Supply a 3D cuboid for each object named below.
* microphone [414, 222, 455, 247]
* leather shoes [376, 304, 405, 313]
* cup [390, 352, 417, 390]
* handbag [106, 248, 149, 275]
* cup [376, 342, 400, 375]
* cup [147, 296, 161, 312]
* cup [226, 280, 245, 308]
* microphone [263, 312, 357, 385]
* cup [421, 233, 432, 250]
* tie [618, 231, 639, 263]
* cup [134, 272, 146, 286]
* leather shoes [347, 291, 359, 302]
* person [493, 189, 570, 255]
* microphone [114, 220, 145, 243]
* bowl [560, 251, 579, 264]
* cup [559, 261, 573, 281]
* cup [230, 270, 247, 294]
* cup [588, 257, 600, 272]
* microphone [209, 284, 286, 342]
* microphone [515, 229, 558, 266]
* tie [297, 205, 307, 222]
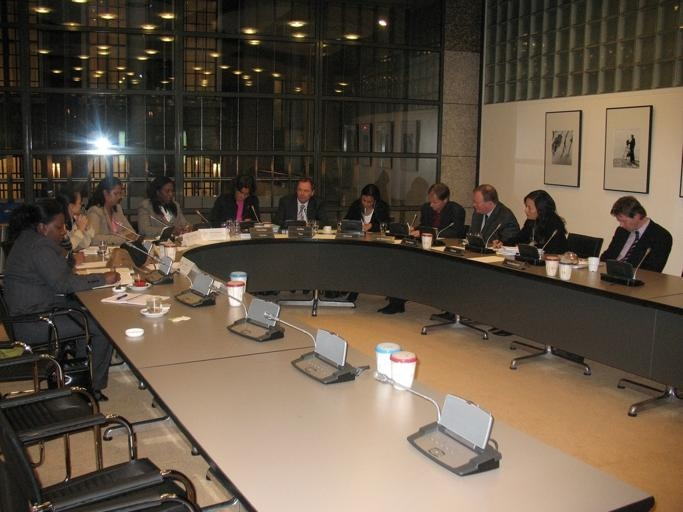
[{"bbox_3d":[1.014,-0.232,5.819,0.208,0.280,0.202,-34,34,-30],"label":"microphone"},{"bbox_3d":[0.581,0.602,6.184,0.229,0.152,0.124,1,2,-8],"label":"leather shoes"},{"bbox_3d":[0.258,0.472,2.304,0.145,0.131,0.140,-1,9,0],"label":"cup"},{"bbox_3d":[-1.825,0.045,4.638,0.323,0.189,0.304,0,6,-24],"label":"handbag"},{"bbox_3d":[0.209,0.440,2.399,0.133,0.126,0.129,0,6,0],"label":"cup"},{"bbox_3d":[-1.131,0.299,3.283,0.100,0.103,0.095,1,10,0],"label":"cup"},{"bbox_3d":[-0.647,0.234,3.358,0.151,0.151,0.146,-1,4,0],"label":"cup"},{"bbox_3d":[-0.125,0.439,2.497,0.134,0.158,0.449,-6,12,-32],"label":"microphone"},{"bbox_3d":[0.856,-0.151,5.416,0.150,0.159,0.145,0,9,0],"label":"cup"},{"bbox_3d":[2.528,-0.086,4.768,0.061,0.252,0.141,29,-17,-2],"label":"tie"},{"bbox_3d":[-1.470,0.165,3.971,0.082,0.103,0.082,-3,-4,0],"label":"cup"},{"bbox_3d":[0.137,0.486,6.591,0.131,0.121,0.224,2,-8,-12],"label":"leather shoes"},{"bbox_3d":[1.919,-0.360,5.400,0.830,0.672,0.558,0,11,-1],"label":"person"},{"bbox_3d":[-2.218,-0.263,5.665,0.420,0.121,0.278,24,15,32],"label":"microphone"},{"bbox_3d":[1.891,0.011,4.496,0.181,0.100,0.175,-1,4,0],"label":"bowl"},{"bbox_3d":[1.736,0.112,4.270,0.134,0.144,0.140,0,1,0],"label":"cup"},{"bbox_3d":[-0.633,0.161,3.482,0.133,0.128,0.131,1,5,0],"label":"cup"},{"bbox_3d":[2.067,0.063,4.448,0.108,0.110,0.111,-1,1,0],"label":"cup"},{"bbox_3d":[-0.472,0.343,2.925,0.213,0.236,0.361,-12,14,-41],"label":"microphone"},{"bbox_3d":[1.782,-0.078,4.921,0.233,0.267,0.287,-22,17,-19],"label":"microphone"},{"bbox_3d":[-0.485,-0.556,6.606,0.151,0.252,0.064,-1,-8,0],"label":"tie"}]
